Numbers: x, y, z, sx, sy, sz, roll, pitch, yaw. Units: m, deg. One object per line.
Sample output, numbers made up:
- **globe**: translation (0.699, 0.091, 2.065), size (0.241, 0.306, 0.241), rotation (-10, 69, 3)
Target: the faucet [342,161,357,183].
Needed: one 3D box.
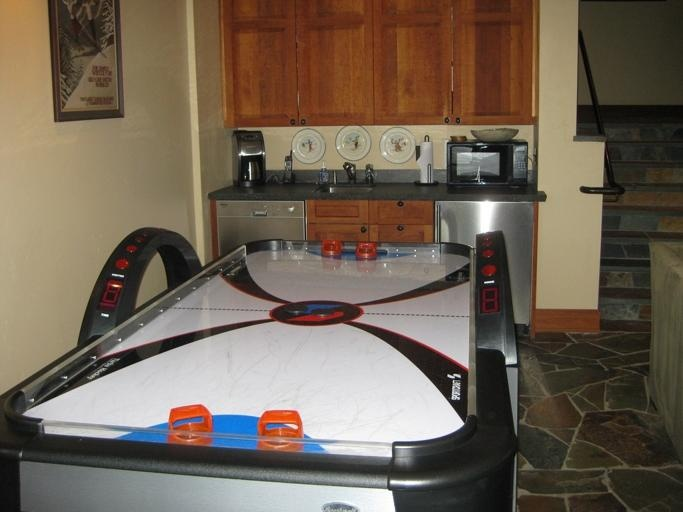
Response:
- **faucet**: translation (0.078, -0.746, 4.933), size (0.121, 0.182, 0.189), rotation (-1, 14, 1)

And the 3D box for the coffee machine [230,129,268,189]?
- **coffee machine**: translation (-0.801, -0.844, 4.795), size (0.260, 0.472, 0.155), rotation (-5, 15, -13)

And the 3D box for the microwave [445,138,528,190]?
- **microwave**: translation (1.159, -0.739, 4.621), size (0.704, 0.385, 0.442), rotation (-1, 2, 1)

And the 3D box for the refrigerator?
- **refrigerator**: translation (1.132, -0.033, 4.974), size (0.868, 1.518, 1.092), rotation (1, 9, 9)

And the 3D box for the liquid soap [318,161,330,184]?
- **liquid soap**: translation (-0.155, -0.746, 4.962), size (0.093, 0.189, 0.220), rotation (-2, 14, -1)
